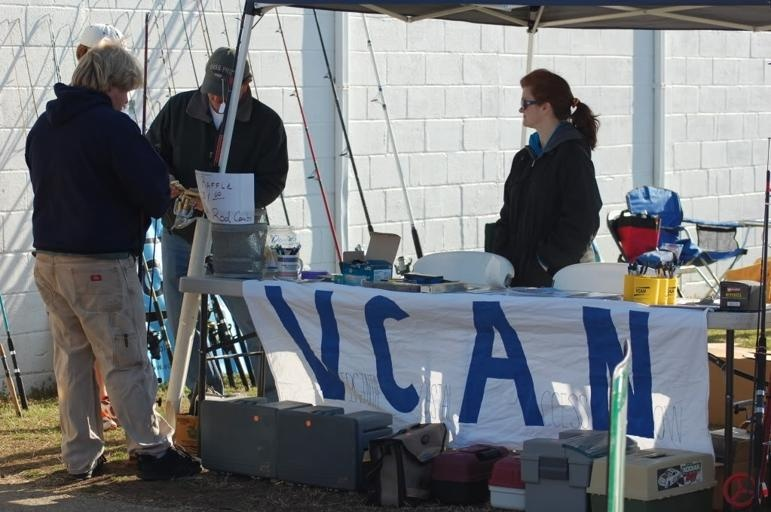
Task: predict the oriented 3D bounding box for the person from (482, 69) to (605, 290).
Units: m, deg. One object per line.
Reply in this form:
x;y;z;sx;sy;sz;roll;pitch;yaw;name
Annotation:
0.969;-0.486;7.665;0.664;1.010;0.362;-2;1;19;person

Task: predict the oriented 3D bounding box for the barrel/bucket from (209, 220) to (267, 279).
-0.836;-0.043;7.293;0.280;0.316;0.312;0;-1;-5;barrel/bucket

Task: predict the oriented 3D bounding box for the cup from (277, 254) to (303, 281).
-0.544;0.055;7.293;0.094;0.147;0.150;0;-1;-17;cup

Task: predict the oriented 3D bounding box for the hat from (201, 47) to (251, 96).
-0.980;-1.181;7.728;0.255;0.218;0.401;10;34;16;hat

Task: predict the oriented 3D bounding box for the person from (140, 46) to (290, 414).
-1.077;-0.194;8.096;0.810;2.351;0.810;3;26;4;person

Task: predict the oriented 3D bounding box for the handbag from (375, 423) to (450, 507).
0.148;1.056;6.941;0.315;0.461;0.539;-3;0;35;handbag

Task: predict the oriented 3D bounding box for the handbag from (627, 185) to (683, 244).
1.916;-0.309;9.005;0.426;0.583;0.469;0;-5;4;handbag

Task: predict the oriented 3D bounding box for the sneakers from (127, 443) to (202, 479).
-1.244;1.158;7.186;0.390;0.202;0.168;-2;4;-30;sneakers

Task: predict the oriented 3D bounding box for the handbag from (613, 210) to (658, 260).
1.356;-0.133;6.840;0.226;0.254;0.248;-5;-2;-12;handbag

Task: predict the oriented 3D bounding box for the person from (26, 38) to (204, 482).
-1.539;0.041;7.051;0.790;2.323;0.382;-2;1;-12;person

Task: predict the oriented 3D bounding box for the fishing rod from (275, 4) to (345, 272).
-0.561;-0.973;9.292;0.140;2.025;0.131;-5;12;8;fishing rod
